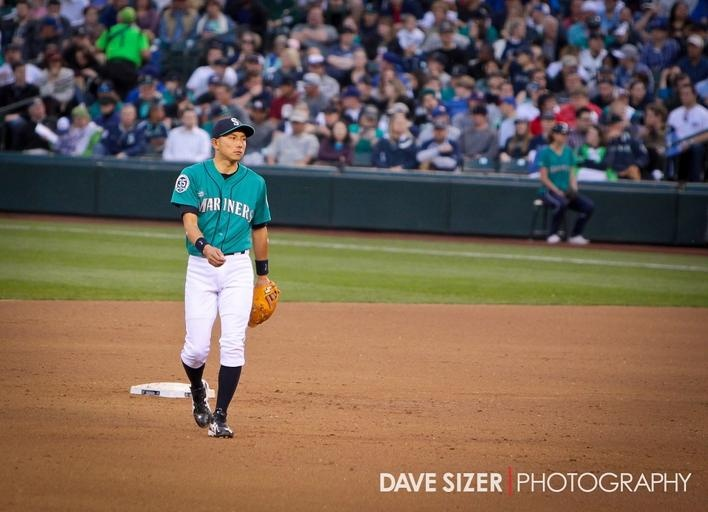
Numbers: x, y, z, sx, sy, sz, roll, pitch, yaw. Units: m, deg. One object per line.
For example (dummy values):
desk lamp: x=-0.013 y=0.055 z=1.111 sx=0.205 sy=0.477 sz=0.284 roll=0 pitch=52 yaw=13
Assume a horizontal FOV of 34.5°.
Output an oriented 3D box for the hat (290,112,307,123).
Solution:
hat: x=-0.828 y=-2.090 z=17.038 sx=0.251 sy=0.165 sz=0.217 roll=3 pitch=7 yaw=-4

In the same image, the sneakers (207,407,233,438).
sneakers: x=-1.173 y=1.474 z=9.887 sx=0.129 sy=0.168 sz=0.351 roll=2 pitch=-2 yaw=-25

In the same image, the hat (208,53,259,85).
hat: x=-1.940 y=-3.076 z=18.751 sx=0.687 sy=0.275 sz=0.669 roll=-17 pitch=23 yaw=7

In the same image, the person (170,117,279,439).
person: x=-1.186 y=0.174 z=9.948 sx=0.839 sy=2.753 sz=0.546 roll=3 pitch=8 yaw=-5

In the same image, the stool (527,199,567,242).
stool: x=2.633 y=-0.527 z=15.695 sx=0.538 sy=0.616 sz=0.466 roll=5 pitch=7 yaw=41

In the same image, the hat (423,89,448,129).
hat: x=1.168 y=-2.181 z=16.817 sx=0.355 sy=0.578 sz=0.305 roll=-18 pitch=-16 yaw=1

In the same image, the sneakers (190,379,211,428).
sneakers: x=-1.345 y=1.309 z=10.081 sx=0.152 sy=0.444 sz=0.197 roll=-7 pitch=-10 yaw=-2

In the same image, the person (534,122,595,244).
person: x=2.841 y=-0.983 z=15.360 sx=0.786 sy=1.614 sz=0.366 roll=4 pitch=8 yaw=8

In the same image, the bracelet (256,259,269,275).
bracelet: x=-0.819 y=0.089 z=10.198 sx=0.137 sy=0.136 sz=0.134 roll=-2 pitch=10 yaw=-8

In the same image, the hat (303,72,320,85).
hat: x=-0.656 y=-2.775 z=17.804 sx=0.252 sy=0.206 sz=0.368 roll=3 pitch=7 yaw=-2

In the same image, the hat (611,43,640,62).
hat: x=4.119 y=-3.099 z=17.286 sx=0.378 sy=0.192 sz=0.251 roll=5 pitch=14 yaw=3

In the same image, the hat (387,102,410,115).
hat: x=0.660 y=-2.201 z=16.956 sx=0.227 sy=0.144 sz=0.278 roll=14 pitch=8 yaw=26

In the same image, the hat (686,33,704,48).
hat: x=5.142 y=-3.241 z=17.137 sx=0.223 sy=0.141 sz=0.220 roll=20 pitch=14 yaw=10

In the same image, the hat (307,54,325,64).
hat: x=-0.615 y=-3.143 z=18.170 sx=0.224 sy=0.166 sz=0.222 roll=2 pitch=8 yaw=-8

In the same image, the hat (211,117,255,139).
hat: x=-1.063 y=-1.107 z=9.831 sx=0.283 sy=0.134 sz=0.198 roll=-8 pitch=2 yaw=26
